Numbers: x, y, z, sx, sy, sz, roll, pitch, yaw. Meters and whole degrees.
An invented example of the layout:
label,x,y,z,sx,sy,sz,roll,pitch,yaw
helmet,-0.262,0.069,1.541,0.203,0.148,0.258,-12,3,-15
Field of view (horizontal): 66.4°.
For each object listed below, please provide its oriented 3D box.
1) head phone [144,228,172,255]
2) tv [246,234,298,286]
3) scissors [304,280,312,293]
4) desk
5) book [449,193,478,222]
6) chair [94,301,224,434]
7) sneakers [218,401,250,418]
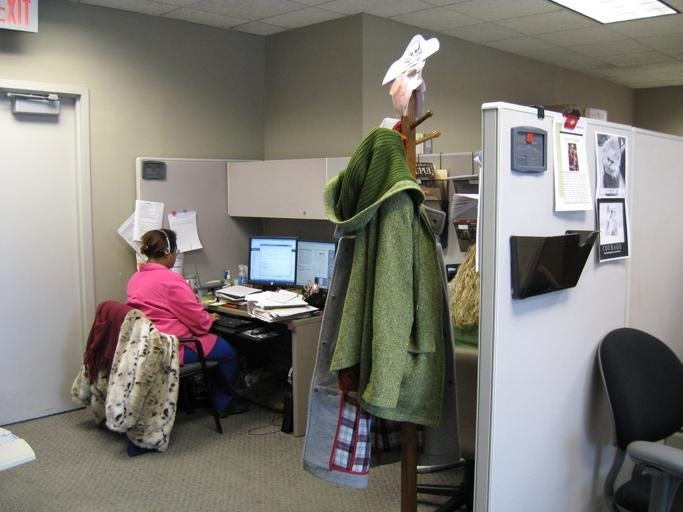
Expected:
label,x,y,z,sx,sy,sz,roll,pitch,yaw
head phone,-1.383,-0.095,3.885,0.138,0.210,0.163,8,4,23
tv,-0.575,0.052,4.339,0.324,0.380,0.038,-10,3,14
scissors,-0.249,0.244,4.041,0.052,0.112,0.069,1,-22,7
desk,-0.702,0.894,3.977,1.025,0.833,0.612,-2,-2,22
book,0.600,-0.231,2.510,0.148,0.129,0.067,0,1,-17
chair,-1.383,0.955,3.634,0.681,0.996,0.831,1,-18,28
sneakers,-0.840,1.174,4.051,0.187,0.100,0.093,-8,10,-29
